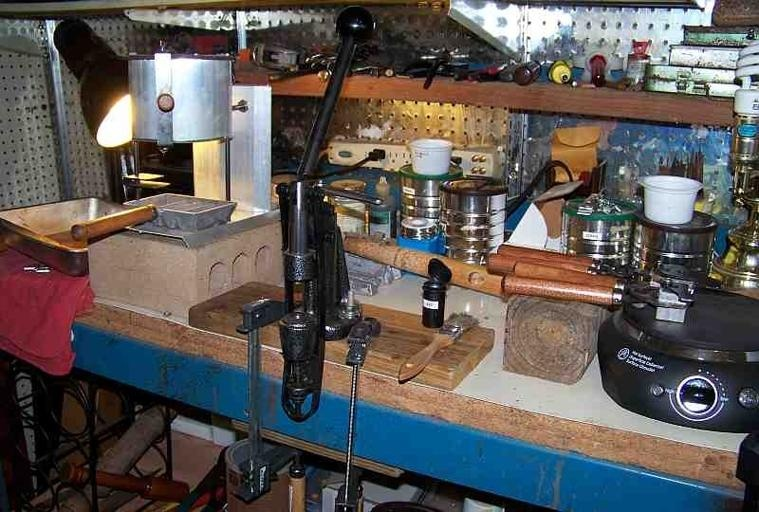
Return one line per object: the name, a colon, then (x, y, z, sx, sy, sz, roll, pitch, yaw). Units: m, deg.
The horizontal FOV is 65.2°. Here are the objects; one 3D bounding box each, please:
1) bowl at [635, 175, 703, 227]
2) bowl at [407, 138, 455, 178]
bowl: (0.900, -0.171, 1.854, 0.183, 0.114, 0.170, -2, 19, 1)
bowl: (0.193, -0.369, 2.239, 0.171, 0.106, 0.163, 0, 19, 0)
